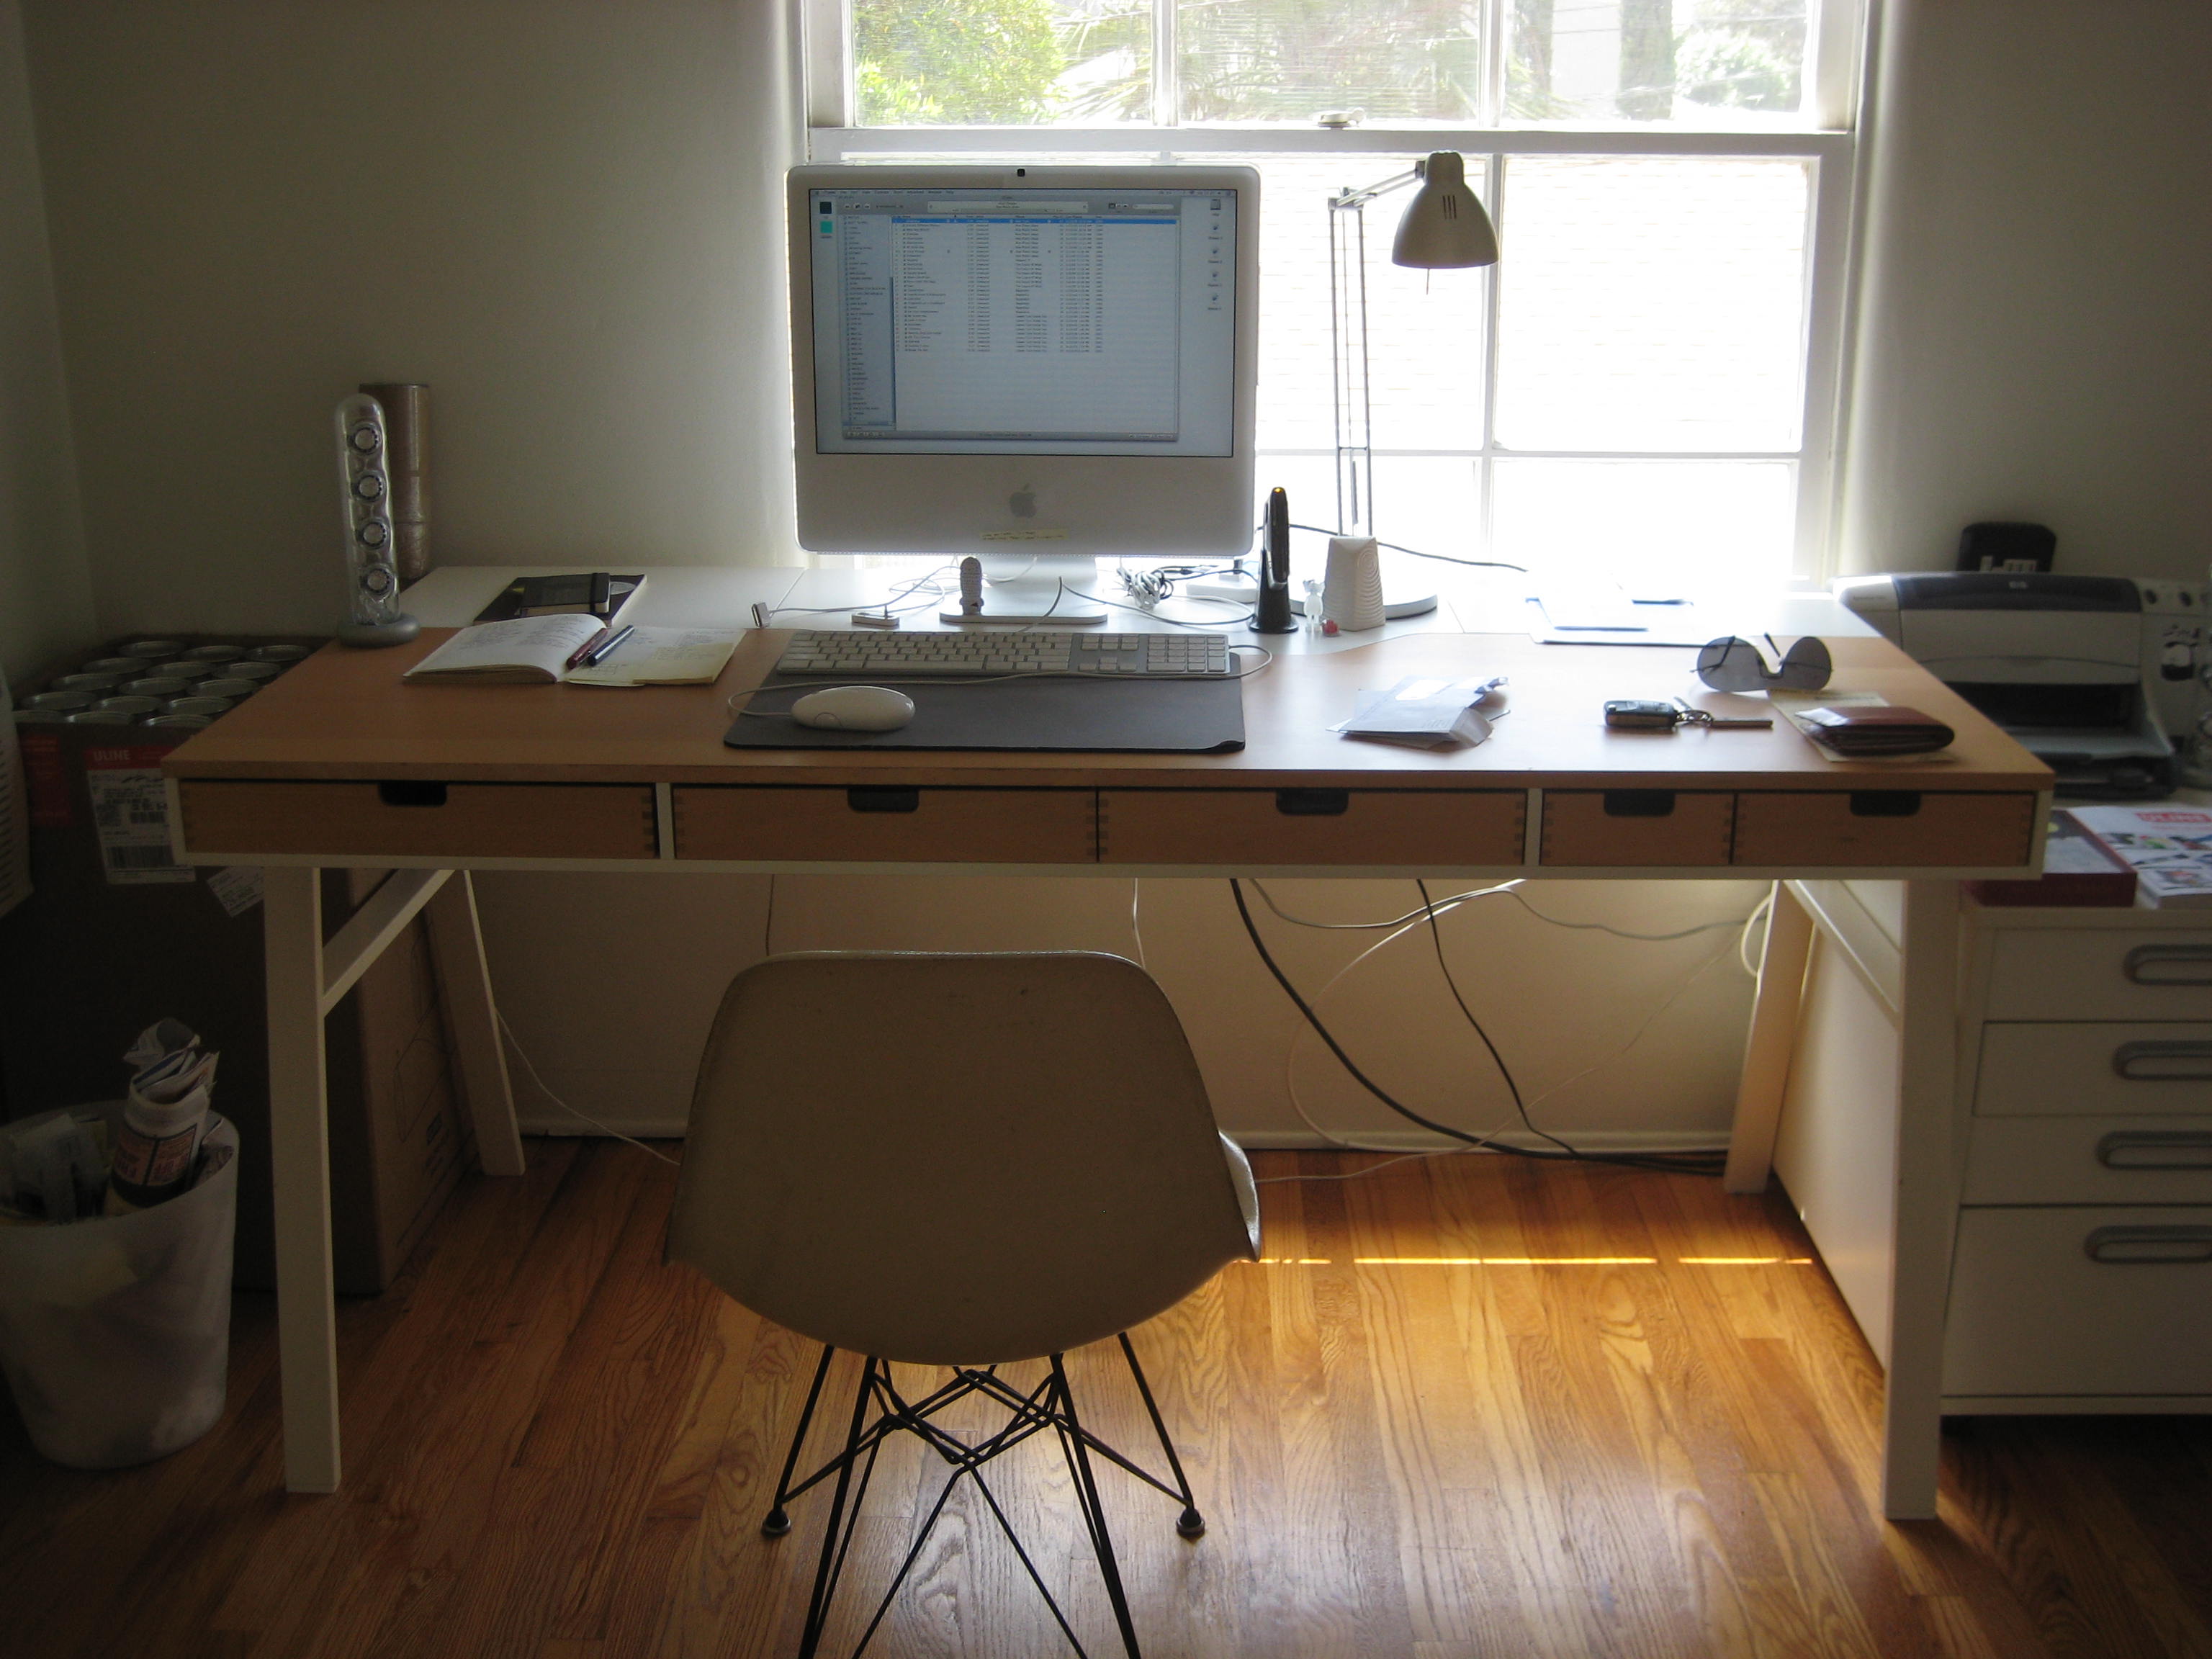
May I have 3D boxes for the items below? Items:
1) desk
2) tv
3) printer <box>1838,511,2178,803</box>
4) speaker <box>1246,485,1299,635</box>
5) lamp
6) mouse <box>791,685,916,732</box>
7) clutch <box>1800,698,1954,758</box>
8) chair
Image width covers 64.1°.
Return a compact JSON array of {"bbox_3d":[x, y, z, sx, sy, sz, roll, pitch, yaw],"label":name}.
[{"bbox_3d":[0.017,0.300,2.722,2.295,1.156,1.013,1,18,3],"label":"desk"},{"bbox_3d":[-0.116,-0.673,2.675,0.657,0.599,0.227,0,0,2],"label":"tv"},{"bbox_3d":[1.360,-0.253,2.672,0.502,0.466,0.387,0,3,16],"label":"printer"},{"bbox_3d":[0.247,-0.396,2.594,0.071,0.205,0.072,-2,10,-9],"label":"speaker"},{"bbox_3d":[0.448,-0.682,2.690,0.235,0.659,0.510,2,20,7],"label":"lamp"},{"bbox_3d":[-0.320,-0.161,2.213,0.111,0.033,0.073,2,28,2],"label":"mouse"},{"bbox_3d":[0.955,-0.130,2.170,0.184,0.044,0.106,-2,21,-5],"label":"clutch"},{"bbox_3d":[-0.165,0.579,2.001,0.540,0.891,0.654,0,28,-4],"label":"chair"}]
